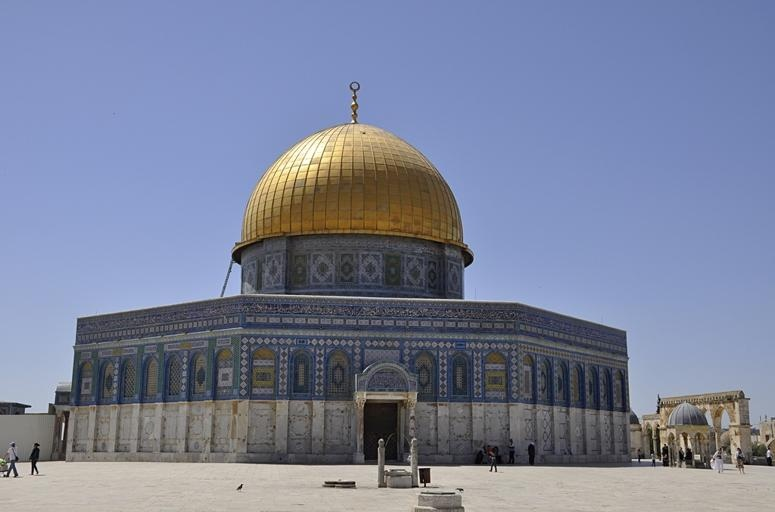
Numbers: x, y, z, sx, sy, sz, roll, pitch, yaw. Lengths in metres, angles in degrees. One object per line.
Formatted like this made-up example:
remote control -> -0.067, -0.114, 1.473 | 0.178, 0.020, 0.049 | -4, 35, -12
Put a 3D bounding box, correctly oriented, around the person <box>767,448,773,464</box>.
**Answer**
person -> 24.392, 12.836, 48.553 | 0.300, 1.143, 2.901 | -9, -21, 23
